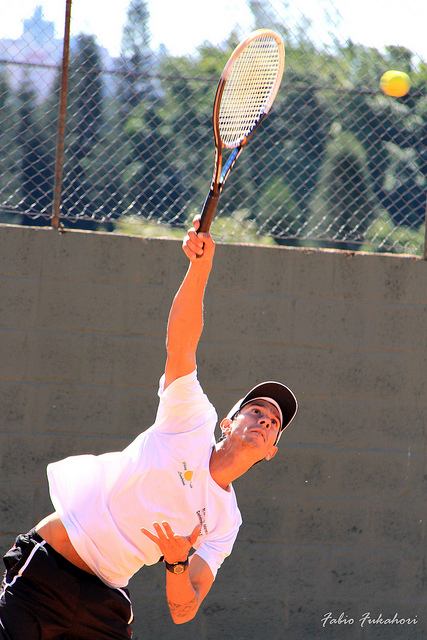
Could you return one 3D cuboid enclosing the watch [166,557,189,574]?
[{"bbox_3d":[-0.173,1.163,8.591,0.082,0.040,0.095,2,0,-17],"label":"watch"}]

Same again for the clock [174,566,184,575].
[{"bbox_3d":[-0.164,1.191,8.607,0.045,0.039,0.035,4,-4,-2],"label":"clock"}]

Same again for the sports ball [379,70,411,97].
[{"bbox_3d":[1.108,-1.422,10.917,0.196,0.212,0.195,2,7,0],"label":"sports ball"}]

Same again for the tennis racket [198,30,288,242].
[{"bbox_3d":[0.140,-0.889,8.786,0.301,1.074,0.458,2,-4,14],"label":"tennis racket"}]
